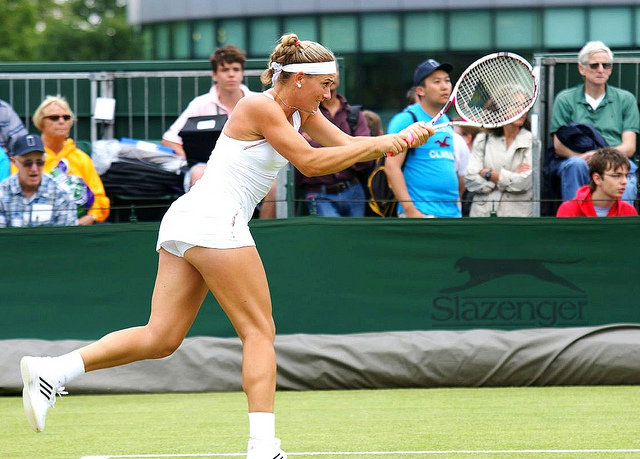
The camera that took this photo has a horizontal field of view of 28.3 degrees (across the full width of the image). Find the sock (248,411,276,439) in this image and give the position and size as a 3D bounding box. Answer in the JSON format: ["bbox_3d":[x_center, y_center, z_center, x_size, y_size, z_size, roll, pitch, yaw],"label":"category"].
[{"bbox_3d":[-0.439,1.435,9.325,0.197,0.164,0.196,0,-7,0],"label":"sock"}]

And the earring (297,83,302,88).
[{"bbox_3d":[-0.162,-1.080,9.517,0.025,0.009,0.021,38,41,15],"label":"earring"}]

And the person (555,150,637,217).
[{"bbox_3d":[2.645,-0.349,11.860,0.819,0.574,0.607,5,-3,-37],"label":"person"}]

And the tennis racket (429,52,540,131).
[{"bbox_3d":[1.499,-1.199,10.915,0.734,0.632,1.016,-1,3,9],"label":"tennis racket"}]

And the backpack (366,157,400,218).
[{"bbox_3d":[0.598,-0.386,11.959,0.310,0.357,0.533,-4,-10,-1],"label":"backpack"}]
